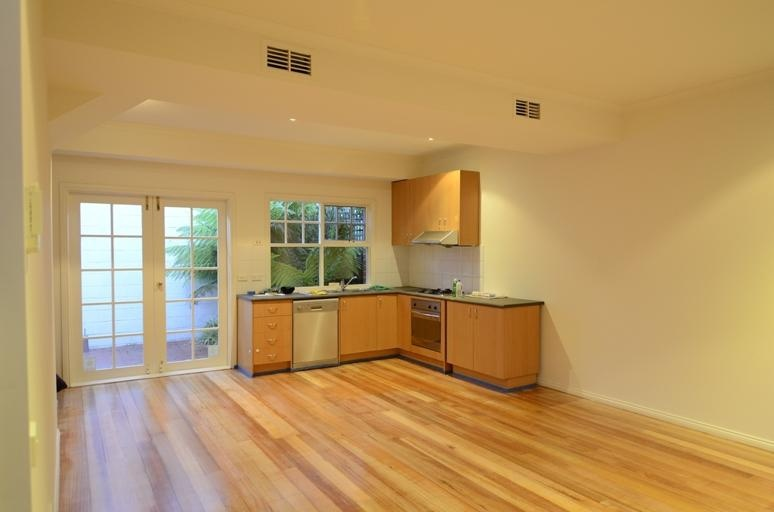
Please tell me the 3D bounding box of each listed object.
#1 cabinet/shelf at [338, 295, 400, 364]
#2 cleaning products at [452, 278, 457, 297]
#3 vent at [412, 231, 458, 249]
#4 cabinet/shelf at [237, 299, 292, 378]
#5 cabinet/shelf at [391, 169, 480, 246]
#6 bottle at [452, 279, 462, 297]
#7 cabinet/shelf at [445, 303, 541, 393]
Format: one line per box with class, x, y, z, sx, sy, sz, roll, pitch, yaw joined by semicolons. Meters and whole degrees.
cabinet/shelf;-0.294;1.037;7.214;1.013;0.849;0.385;1;1;-27
cleaning products;0.943;0.439;6.930;0.098;0.301;0.233;0;-1;5
vent;0.688;-0.268;7.015;0.219;0.201;0.770;-5;9;-28
cabinet/shelf;-1.666;1.045;6.618;0.797;1.020;0.489;0;9;0
cabinet/shelf;0.741;-0.702;7.127;0.357;0.733;1.217;4;-5;-29
bottle;0.973;0.435;6.911;0.174;0.314;0.243;2;-2;5
cabinet/shelf;1.370;1.088;6.473;0.651;1.006;1.130;-1;1;-31
